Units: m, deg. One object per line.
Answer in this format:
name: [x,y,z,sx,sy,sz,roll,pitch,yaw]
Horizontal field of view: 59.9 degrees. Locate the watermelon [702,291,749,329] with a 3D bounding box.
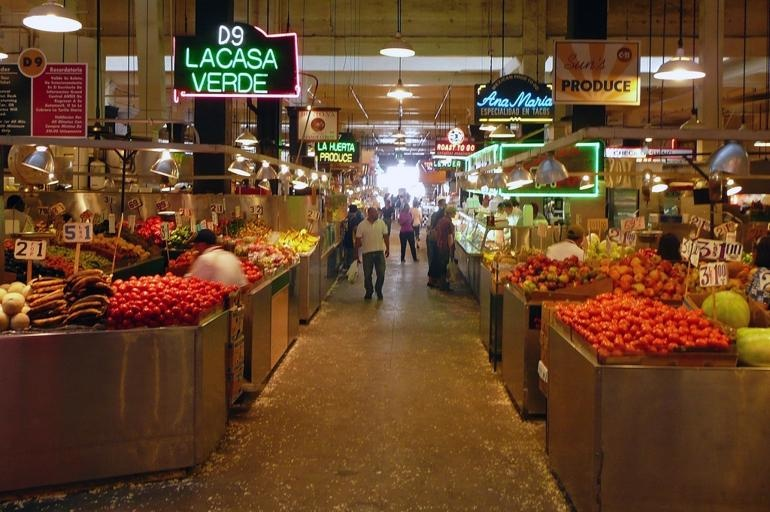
watermelon: [3.415,0.496,6.727,0.353,0.407,0.387,-8,17,7]

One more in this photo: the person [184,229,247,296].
person: [-1.973,0.079,7.861,0.771,0.976,0.480,0,-8,2]
